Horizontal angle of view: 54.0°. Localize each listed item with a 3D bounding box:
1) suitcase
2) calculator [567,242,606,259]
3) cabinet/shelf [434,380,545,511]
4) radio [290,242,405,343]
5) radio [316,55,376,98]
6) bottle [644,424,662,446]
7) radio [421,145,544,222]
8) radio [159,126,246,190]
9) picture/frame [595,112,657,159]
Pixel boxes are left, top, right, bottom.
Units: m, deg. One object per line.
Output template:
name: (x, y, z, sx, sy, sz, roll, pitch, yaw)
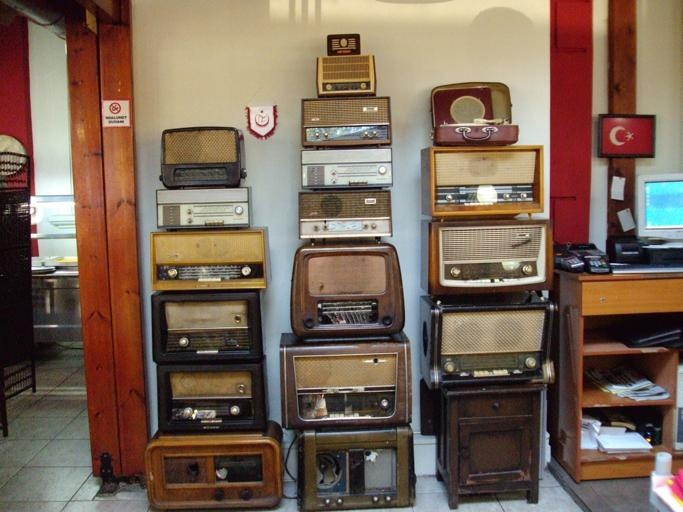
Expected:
suitcase: (0.830, -0.902, 4.250, 0.537, 0.417, 0.422, -1, 6, 2)
calculator: (1.641, -0.042, 4.503, 0.126, 0.073, 0.173, -1, 2, 0)
cabinet/shelf: (0.944, 1.182, 4.550, 0.801, 1.009, 0.705, -1, -1, -1)
radio: (0.038, 0.217, 4.294, 0.733, 0.612, 0.410, -1, 4, 1)
radio: (0.033, -1.115, 4.239, 0.377, 0.261, 0.215, -1, 1, 3)
bottle: (2.062, 1.186, 4.447, 0.068, 0.085, 0.126, -3, 15, -8)
radio: (0.923, -0.486, 4.301, 0.678, 0.456, 0.365, -1, 8, 14)
radio: (-0.864, -0.612, 4.136, 0.605, 0.433, 0.333, -1, 1, -3)
picture/frame: (2.043, -0.872, 4.832, 0.334, 0.262, 0.034, 0, 1, 0)
